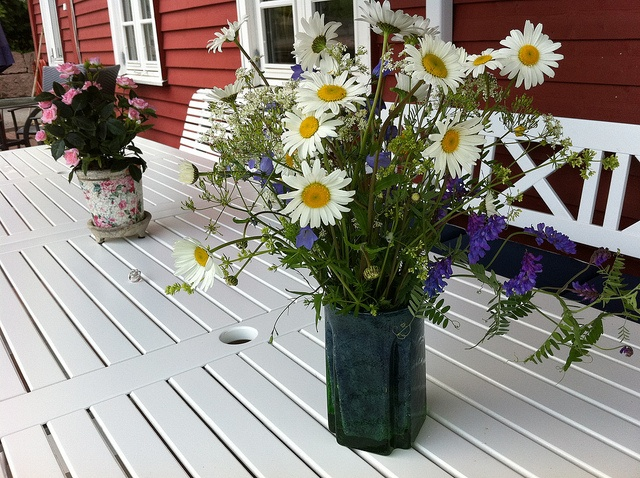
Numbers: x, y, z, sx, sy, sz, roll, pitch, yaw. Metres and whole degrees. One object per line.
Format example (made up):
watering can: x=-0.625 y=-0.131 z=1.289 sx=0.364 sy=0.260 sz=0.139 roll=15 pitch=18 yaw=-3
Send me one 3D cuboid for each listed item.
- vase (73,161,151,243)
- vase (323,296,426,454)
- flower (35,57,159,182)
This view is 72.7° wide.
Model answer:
vase: x=-1.007 y=-0.188 z=2.174 sx=0.313 sy=0.351 sz=0.321 roll=11 pitch=21 yaw=39
vase: x=0.103 y=0.252 z=0.957 sx=0.257 sy=0.351 sz=0.267 roll=-1 pitch=17 yaw=5
flower: x=-1.016 y=-0.515 z=2.165 sx=0.453 sy=0.513 sz=0.489 roll=-14 pitch=8 yaw=-13
